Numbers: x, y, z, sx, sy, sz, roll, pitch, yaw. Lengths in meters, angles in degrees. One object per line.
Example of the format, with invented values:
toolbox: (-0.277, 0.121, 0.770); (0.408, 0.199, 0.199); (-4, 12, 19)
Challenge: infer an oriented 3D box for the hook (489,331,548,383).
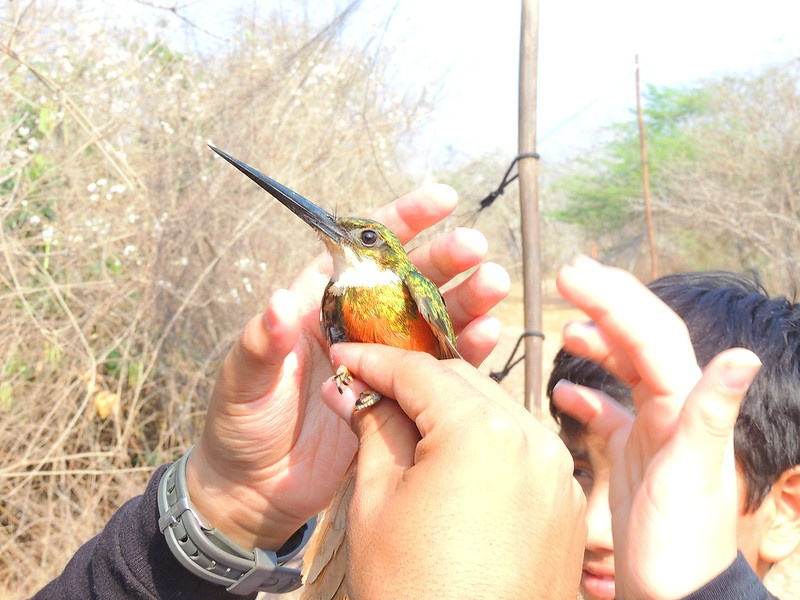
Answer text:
hook: (0.872, 0.420, 5.666); (0.092, 0.379, 0.444); (29, -32, 38)

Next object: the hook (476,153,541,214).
hook: (0.701, -0.792, 5.213); (0.179, 0.488, 0.061); (42, -21, 4)
